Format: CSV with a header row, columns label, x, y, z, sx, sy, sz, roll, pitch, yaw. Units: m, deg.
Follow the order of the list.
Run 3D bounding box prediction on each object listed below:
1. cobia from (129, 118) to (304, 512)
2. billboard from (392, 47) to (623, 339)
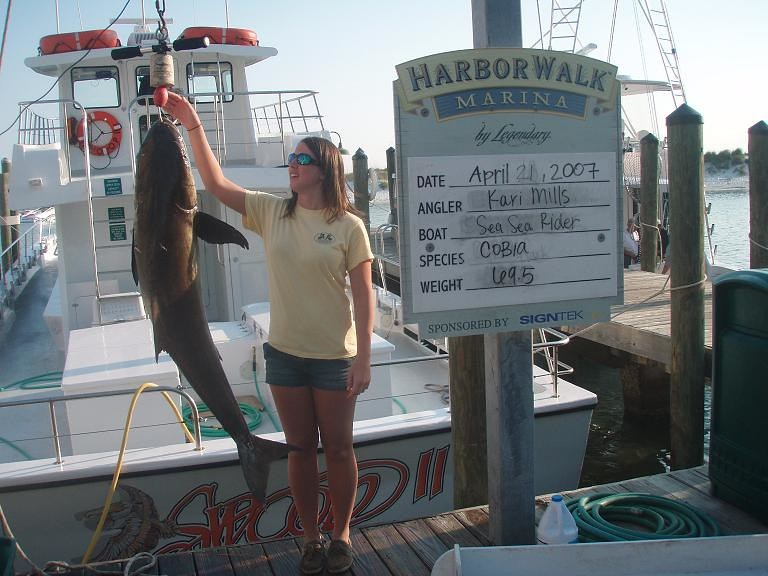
label,x,y,z,sx,sy,sz,roll,pitch,yaw
cobia,-0.951,0.002,3.627,0.526,2.312,0.662,-27,27,-32
billboard,0.589,-0.500,3.293,1.268,1.497,0.096,-4,5,-10
